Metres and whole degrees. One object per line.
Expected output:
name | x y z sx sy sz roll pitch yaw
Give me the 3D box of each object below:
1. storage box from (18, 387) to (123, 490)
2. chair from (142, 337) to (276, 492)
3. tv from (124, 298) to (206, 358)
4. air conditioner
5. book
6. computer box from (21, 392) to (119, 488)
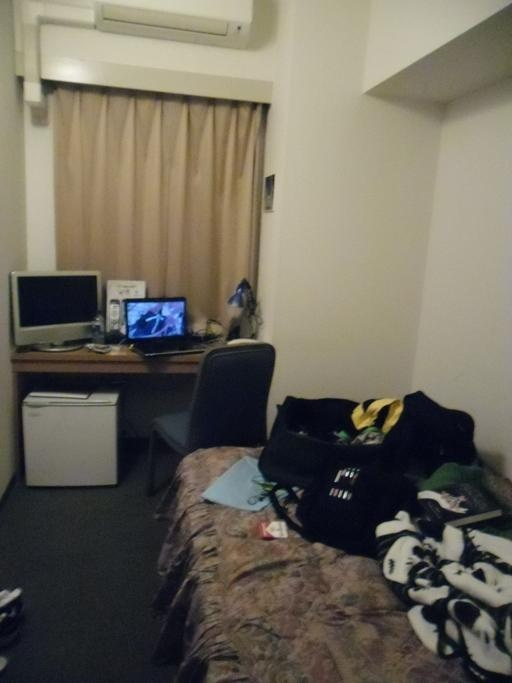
storage box | -0.872 0.433 2.773 0.437 0.472 0.462 1 7 0
chair | -0.211 0.347 2.322 0.407 0.773 0.459 -2 13 -28
tv | -0.450 -0.084 2.799 0.353 0.230 0.402 13 14 35
air conditioner | -0.371 -1.441 2.486 0.692 0.073 0.220 0 12 -16
book | 0.498 0.401 1.342 0.136 0.038 0.098 -2 7 -24
computer box | -0.868 0.446 2.712 0.437 0.462 0.461 0 2 -9
